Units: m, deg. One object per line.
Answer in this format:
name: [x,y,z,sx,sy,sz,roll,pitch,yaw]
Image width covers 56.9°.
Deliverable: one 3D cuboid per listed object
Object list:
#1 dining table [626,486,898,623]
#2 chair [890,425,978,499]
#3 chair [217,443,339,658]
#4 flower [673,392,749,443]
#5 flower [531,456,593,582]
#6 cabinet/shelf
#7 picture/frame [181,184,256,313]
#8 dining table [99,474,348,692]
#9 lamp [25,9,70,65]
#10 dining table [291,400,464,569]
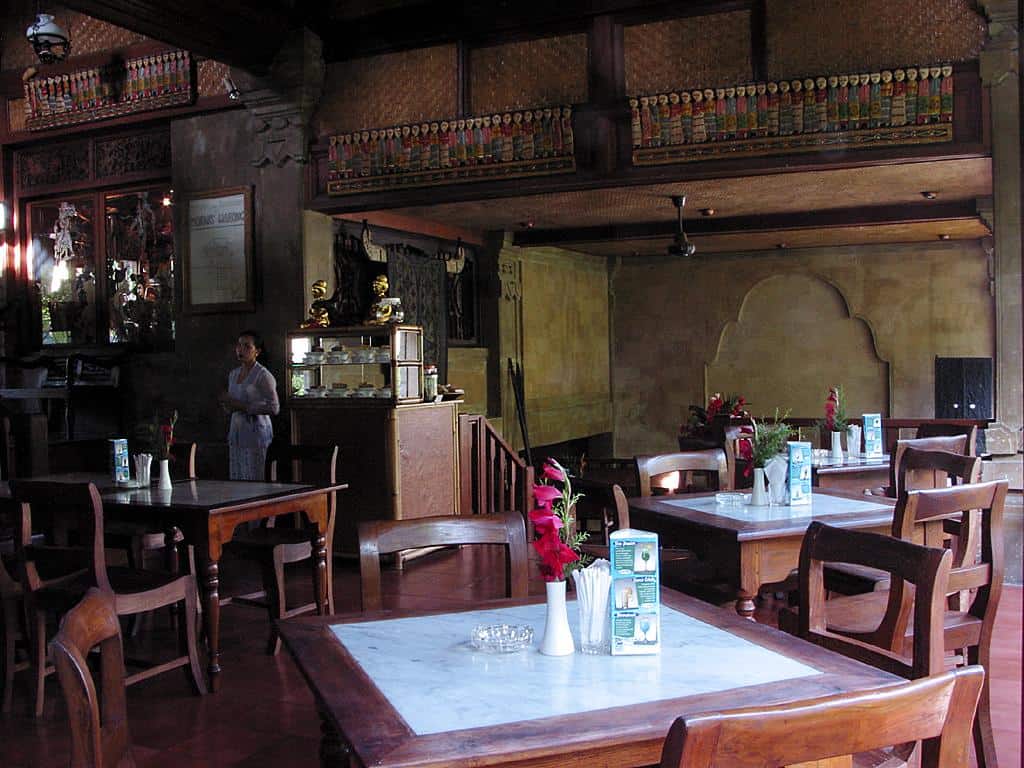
dining table: [1.162,0.681,4.509,0.736,0.588,0.935,1,-1,-30]
chair: [2.346,0.431,5.222,0.345,0.591,0.416,-1,2,-35]
chair: [-1.493,0.968,5.877,0.724,1.123,0.700,-2,6,-42]
flower: [2.215,0.385,10.256,0.844,0.624,0.854,1,1,35]
flower: [0.144,0.477,2.985,0.209,0.444,0.204,4,-10,-3]
cabinet/shelf: [-1.328,-0.145,7.880,1.145,0.682,0.426,-1,1,27]
picture/frame: [-2.704,-1.244,8.764,1.186,1.583,0.118,0,1,29]
dining table: [-1.890,1.040,5.677,1.390,0.847,1.155,1,3,27]
lamp: [-3.750,-2.823,7.619,0.283,0.451,0.422,-2,0,-32]
dining table: [-0.912,0.621,8.213,1.227,1.653,1.660,-1,-1,23]
